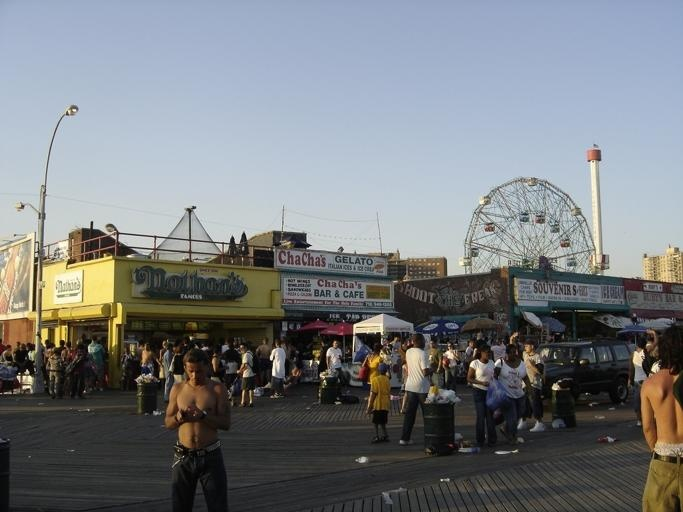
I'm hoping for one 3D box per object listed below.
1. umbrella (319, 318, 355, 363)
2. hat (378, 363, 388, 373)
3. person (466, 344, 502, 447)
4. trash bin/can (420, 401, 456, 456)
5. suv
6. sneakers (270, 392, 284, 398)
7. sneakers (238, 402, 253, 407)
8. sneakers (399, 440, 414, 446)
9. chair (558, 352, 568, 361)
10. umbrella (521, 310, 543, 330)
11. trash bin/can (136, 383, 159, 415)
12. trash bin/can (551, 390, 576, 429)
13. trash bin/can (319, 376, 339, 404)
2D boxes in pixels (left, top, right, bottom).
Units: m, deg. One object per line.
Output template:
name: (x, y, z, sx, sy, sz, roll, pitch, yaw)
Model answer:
umbrella: (0.007, 3.480, 36.723, 1.403, 1.131, 1.417, 0, 1, -32)
hat: (0.904, 2.483, 19.816, 0.166, 0.205, 0.205, 3, -50, 7)
person: (3.008, 2.942, 19.072, 0.560, 2.203, 0.802, -1, -6, 10)
trash bin/can: (1.996, 3.543, 18.306, 0.666, 0.949, 0.663, -4, -9, 31)
suv: (7.338, 3.400, 26.365, 3.150, 1.484, 1.815, 7, -11, -34)
sneakers: (-2.212, 4.689, 29.930, 0.408, 0.185, 0.188, 4, -4, -10)
sneakers: (-2.880, 4.487, 26.773, 0.392, 0.154, 0.145, 0, -6, 25)
sneakers: (1.369, 3.983, 18.989, 0.305, 0.118, 0.100, -3, 7, -42)
chair: (6.642, 2.973, 26.427, 0.338, 0.329, 0.184, -2, -14, 3)
umbrella: (9.682, 3.159, 44.772, 1.023, 0.940, 1.828, -1, -6, 12)
trash bin/can: (-5.561, 4.032, 25.121, 0.743, 0.774, 0.736, 1, -8, -12)
trash bin/can: (5.425, 3.694, 21.581, 0.642, 0.906, 0.636, -1, -6, -26)
trash bin/can: (-0.395, 4.085, 27.293, 0.582, 0.885, 0.507, 1, -6, -8)
